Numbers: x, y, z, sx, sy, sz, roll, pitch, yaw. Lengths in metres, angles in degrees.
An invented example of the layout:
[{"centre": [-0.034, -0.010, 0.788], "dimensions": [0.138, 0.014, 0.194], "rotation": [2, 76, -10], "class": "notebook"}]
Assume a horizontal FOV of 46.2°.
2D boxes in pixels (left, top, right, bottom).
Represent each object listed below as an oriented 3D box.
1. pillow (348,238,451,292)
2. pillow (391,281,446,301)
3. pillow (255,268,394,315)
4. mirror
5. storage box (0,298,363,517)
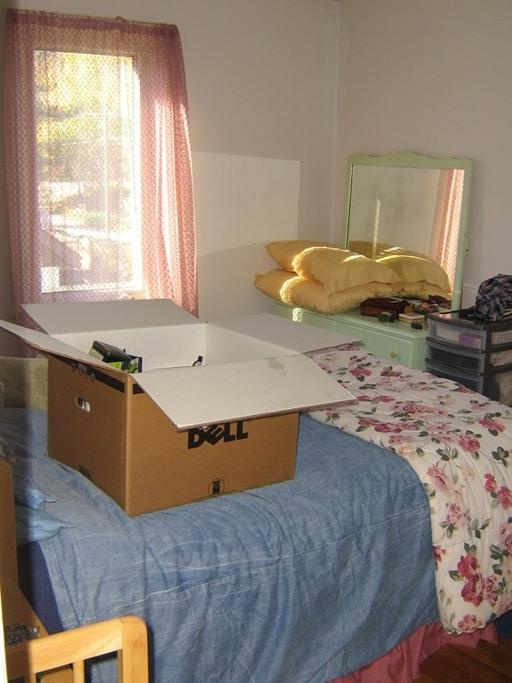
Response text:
[{"centre": [0.861, -0.475, 3.494], "dimensions": [0.318, 0.117, 0.461], "rotation": [-2, 26, -36], "class": "pillow"}, {"centre": [0.943, -0.283, 3.344], "dimensions": [0.100, 0.100, 0.308], "rotation": [-9, 16, -43], "class": "pillow"}, {"centre": [0.358, -0.269, 3.446], "dimensions": [0.421, 0.121, 0.438], "rotation": [8, 14, 13], "class": "pillow"}, {"centre": [0.877, -0.579, 3.364], "dimensions": [0.042, 1.032, 0.933], "rotation": [-4, 15, -37], "class": "mirror"}, {"centre": [-0.217, 0.115, 1.311], "dimensions": [0.648, 0.270, 0.596], "rotation": [-6, 14, -35], "class": "storage box"}]
